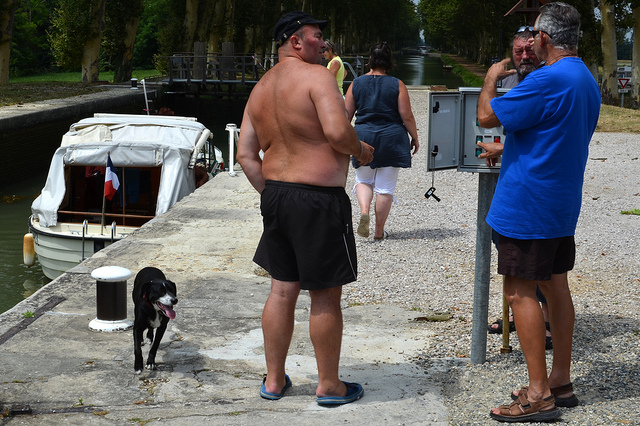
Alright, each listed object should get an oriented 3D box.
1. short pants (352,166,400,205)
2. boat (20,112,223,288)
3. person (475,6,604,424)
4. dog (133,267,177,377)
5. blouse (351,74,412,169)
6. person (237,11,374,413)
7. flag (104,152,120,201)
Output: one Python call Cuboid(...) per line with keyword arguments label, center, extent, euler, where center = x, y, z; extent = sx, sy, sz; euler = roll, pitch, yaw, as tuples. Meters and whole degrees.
Cuboid(label="short pants", center=(0.773, -0.359, 10.069), extent=(0.399, 0.512, 0.856), euler=(0, 0, 3))
Cuboid(label="boat", center=(-4.263, -0.564, 16.252), extent=(2.747, 2.053, 5.573), euler=(5, 24, 8))
Cuboid(label="person", center=(1.568, 0.016, 5.525), extent=(0.787, 2.973, 0.853), euler=(3, 15, 18))
Cuboid(label="dog", center=(-1.503, 0.939, 6.736), extent=(0.383, 0.752, 1.315), euler=(4, 2, -17))
Cuboid(label="blouse", center=(0.796, -1.157, 9.758), extent=(0.754, 1.242, 0.389), euler=(-1, 15, 3))
Cuboid(label="person", center=(-0.112, -0.023, 5.865), extent=(0.969, 2.999, 0.902), euler=(-2, 15, -2))
Cuboid(label="flag", center=(-4.124, -0.636, 14.759), extent=(0.277, 0.942, 1.166), euler=(-6, 14, -16))
